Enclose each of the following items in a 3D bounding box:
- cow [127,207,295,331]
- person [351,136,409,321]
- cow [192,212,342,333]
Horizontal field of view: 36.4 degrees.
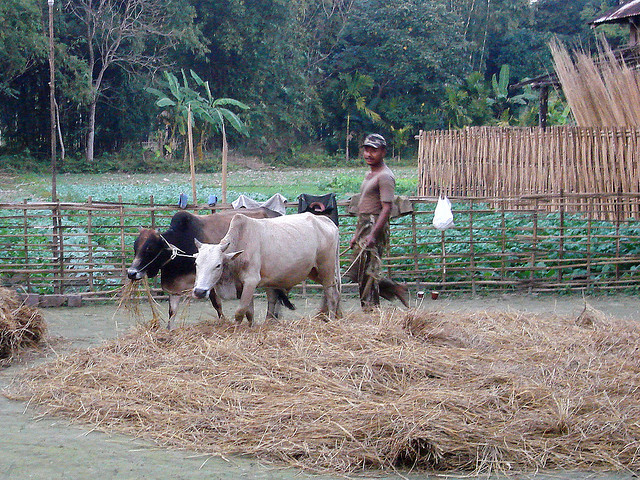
[{"bbox_3d":[-1.519,0.544,14.736,0.919,1.806,3.402,3,2,44],"label":"cow"},{"bbox_3d":[0.835,-0.226,14.628,0.744,2.627,0.932,-2,2,1],"label":"person"},{"bbox_3d":[-0.717,0.428,13.866,2.367,1.620,0.516,-3,2,-41],"label":"cow"}]
